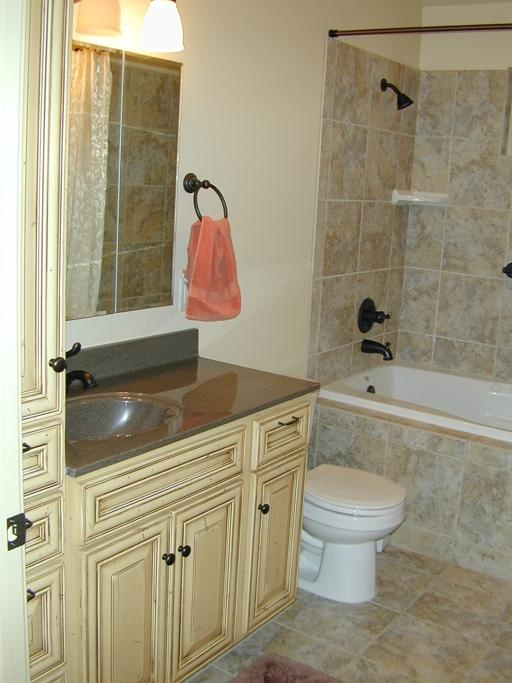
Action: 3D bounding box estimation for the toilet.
[{"bbox_3d":[0.340,0.771,2.406,0.467,0.424,0.471,12,8,42],"label":"toilet"}]

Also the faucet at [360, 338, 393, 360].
[{"bbox_3d":[0.720,0.058,3.607,0.178,0.149,0.408,5,7,11],"label":"faucet"}]

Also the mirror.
[{"bbox_3d":[-0.424,-0.498,1.914,0.060,0.850,0.447,8,8,33],"label":"mirror"}]
